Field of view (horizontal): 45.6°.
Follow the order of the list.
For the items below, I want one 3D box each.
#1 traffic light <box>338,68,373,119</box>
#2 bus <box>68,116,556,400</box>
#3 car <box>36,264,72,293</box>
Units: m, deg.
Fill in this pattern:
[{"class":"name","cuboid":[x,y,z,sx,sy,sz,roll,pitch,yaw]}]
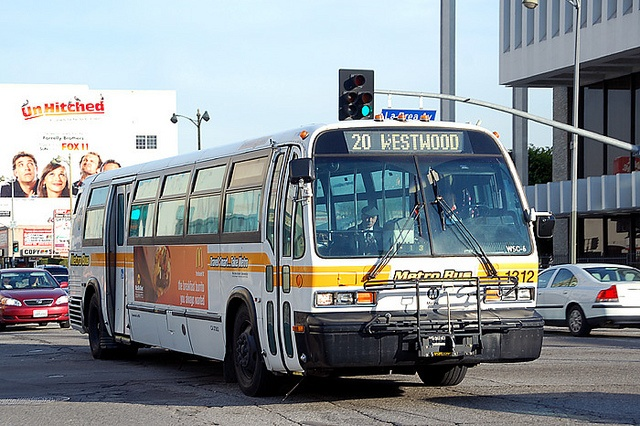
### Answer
[{"class":"traffic light","cuboid":[1.026,-3.219,20.828,0.947,1.441,0.648,0,-3,-31]},{"class":"bus","cuboid":[-1.924,0.900,14.996,3.596,4.282,12.763,0,-4,-43]},{"class":"car","cuboid":[-10.386,2.549,29.862,1.429,1.155,3.082,1,-5,-21]}]
